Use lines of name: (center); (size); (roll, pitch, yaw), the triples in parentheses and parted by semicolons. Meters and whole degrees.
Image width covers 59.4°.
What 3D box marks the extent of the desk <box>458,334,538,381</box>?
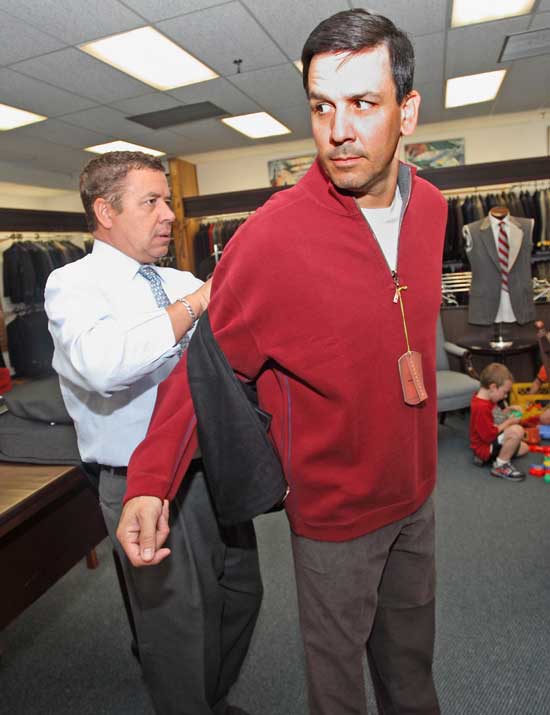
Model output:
desk: (2.243, -0.003, 4.777); (0.623, 0.690, 0.626); (-2, -4, 14)

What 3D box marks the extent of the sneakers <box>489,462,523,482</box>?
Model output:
sneakers: (1.542, 0.760, 3.248); (0.212, 0.105, 0.083); (3, 8, 29)

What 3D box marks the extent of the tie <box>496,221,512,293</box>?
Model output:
tie: (2.225, -1.002, 4.724); (0.096, 0.685, 0.148); (-2, 7, 26)

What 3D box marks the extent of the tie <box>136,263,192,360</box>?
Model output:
tie: (-0.298, -0.152, 1.464); (0.092, 0.248, 0.186); (-27, 33, -27)

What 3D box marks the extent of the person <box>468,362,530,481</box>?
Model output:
person: (1.626, 0.492, 3.536); (0.450, 0.858, 0.743); (-2, -1, 8)

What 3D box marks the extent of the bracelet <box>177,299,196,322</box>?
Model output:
bracelet: (-0.212, -0.113, 1.144); (0.012, 0.042, 0.041); (-32, 39, -5)
